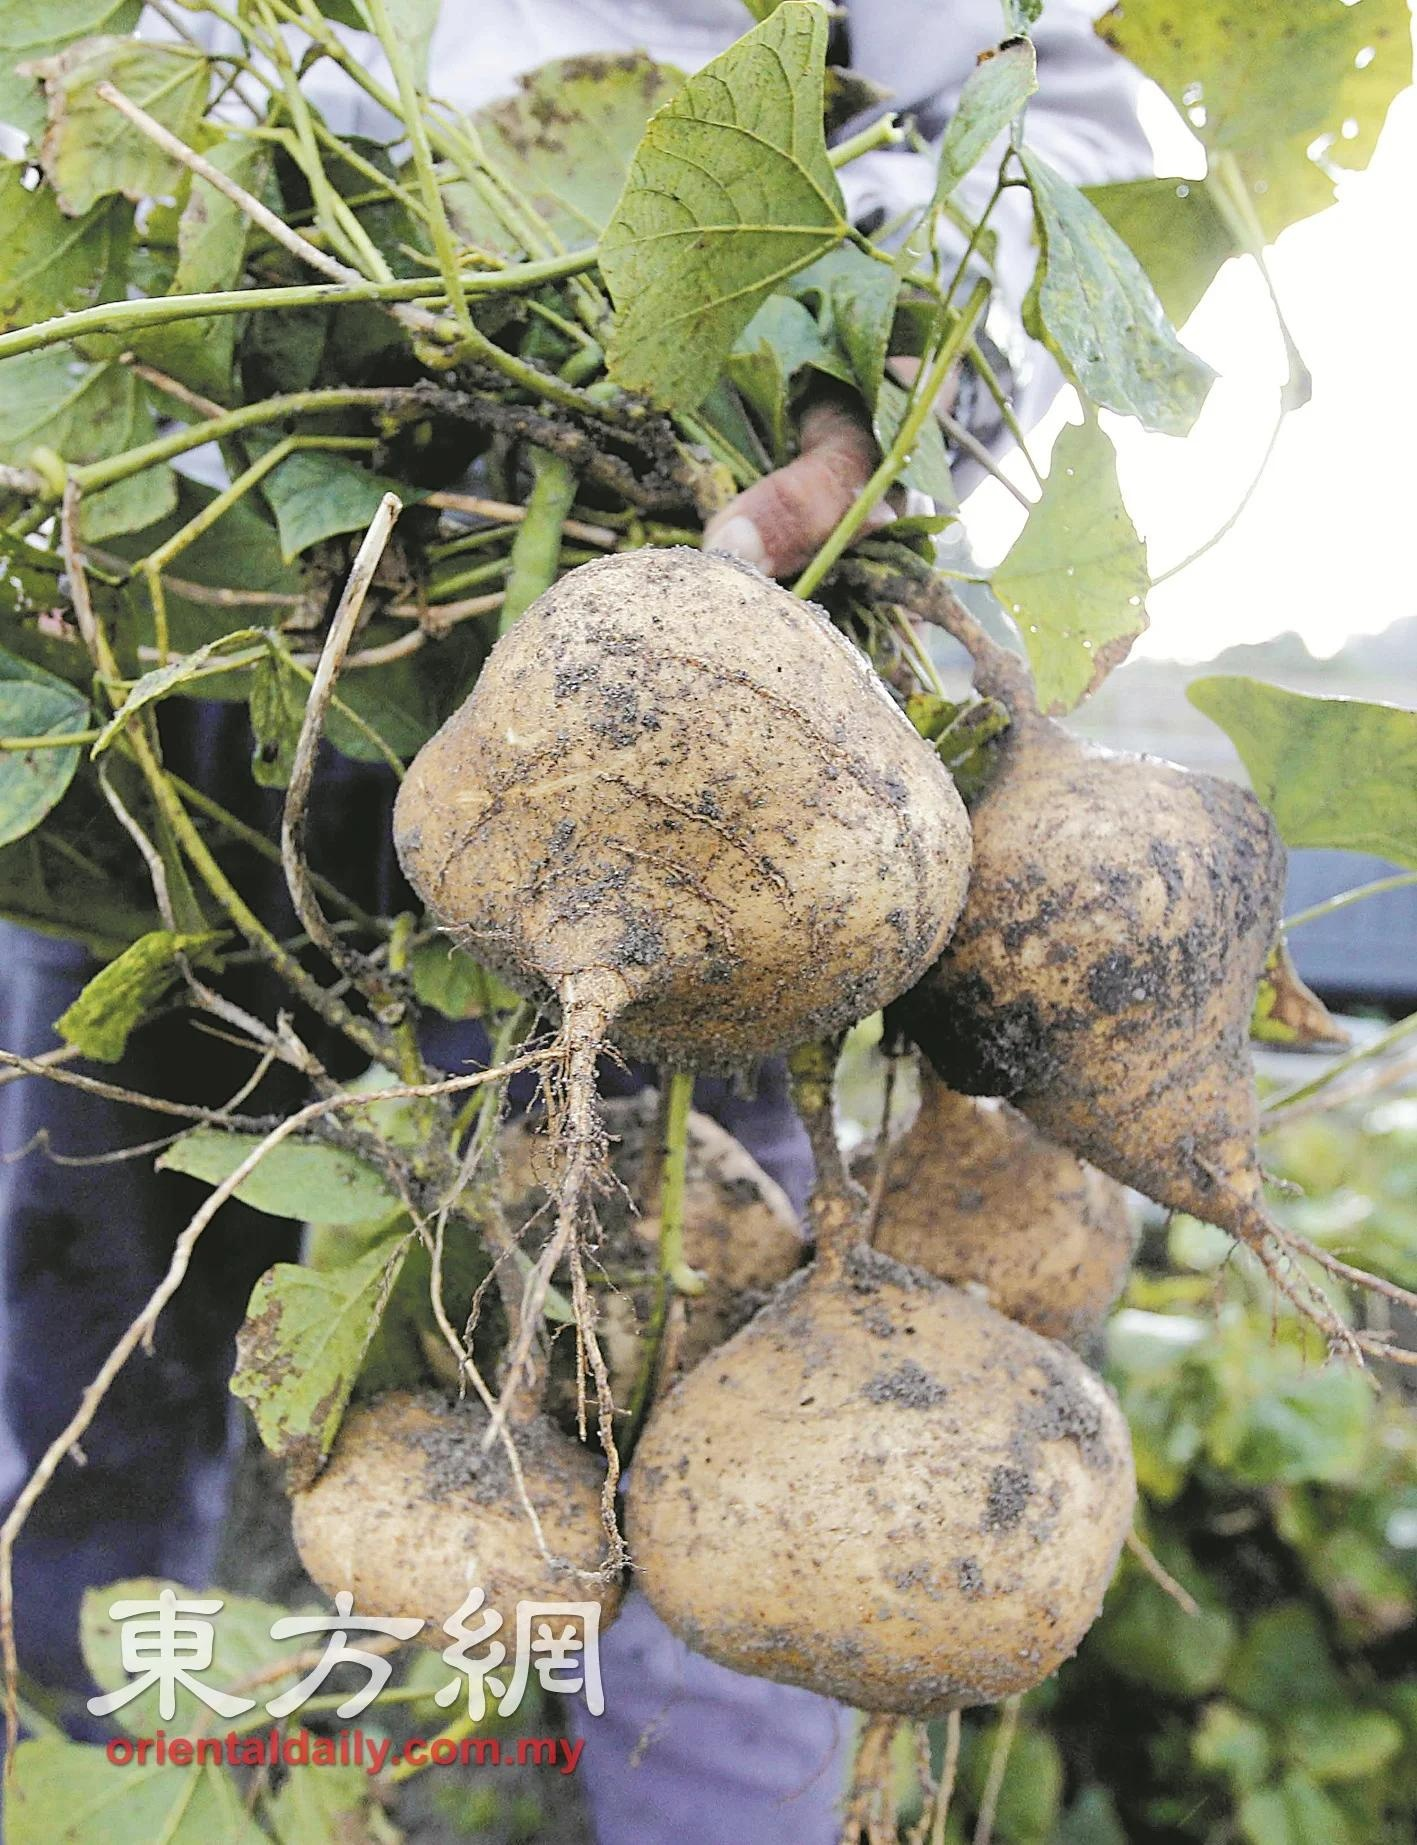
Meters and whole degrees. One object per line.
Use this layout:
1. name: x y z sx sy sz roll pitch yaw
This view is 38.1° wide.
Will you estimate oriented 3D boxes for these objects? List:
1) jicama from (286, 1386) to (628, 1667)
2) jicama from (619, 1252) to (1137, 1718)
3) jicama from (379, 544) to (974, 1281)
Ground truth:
1. jicama: -0.121 0.304 1.041 0.162 0.072 0.119 14 70 13
2. jicama: 0.085 0.277 1.021 0.240 0.102 0.213 19 71 14
3. jicama: -0.016 -0.022 0.889 0.162 0.161 0.268 -3 104 -27
